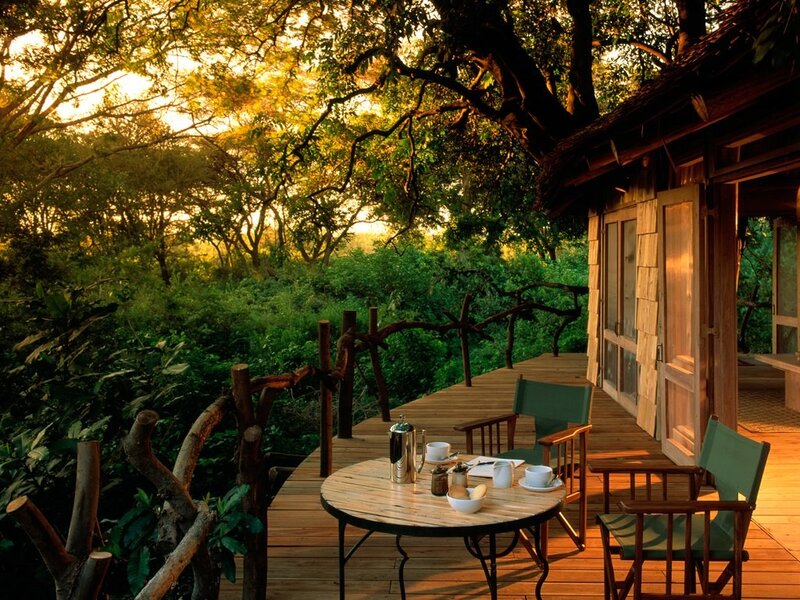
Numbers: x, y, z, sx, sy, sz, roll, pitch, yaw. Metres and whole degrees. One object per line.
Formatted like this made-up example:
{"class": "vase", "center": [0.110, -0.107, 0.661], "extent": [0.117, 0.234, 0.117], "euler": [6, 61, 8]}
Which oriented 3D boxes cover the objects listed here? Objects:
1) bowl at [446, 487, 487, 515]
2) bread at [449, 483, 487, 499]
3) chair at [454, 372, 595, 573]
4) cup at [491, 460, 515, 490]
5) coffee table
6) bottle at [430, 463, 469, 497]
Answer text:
{"class": "bowl", "center": [0.389, 1.114, 3.430], "extent": [0.218, 0.152, 0.186], "euler": [-1, -1, -35]}
{"class": "bread", "center": [0.395, 1.091, 3.443], "extent": [0.115, 0.065, 0.115], "euler": [-9, -11, 44]}
{"class": "chair", "center": [0.991, 1.310, 4.720], "extent": [0.802, 1.193, 0.856], "euler": [-1, 2, -40]}
{"class": "cup", "center": [0.629, 1.072, 3.742], "extent": [0.159, 0.148, 0.097], "euler": [0, -2, -42]}
{"class": "coffee table", "center": [0.198, 1.291, 3.765], "extent": [1.086, 0.607, 1.101], "euler": [-1, -2, 1]}
{"class": "bottle", "center": [0.309, 1.030, 3.576], "extent": [0.183, 0.158, 0.189], "euler": [-5, -6, 40]}
